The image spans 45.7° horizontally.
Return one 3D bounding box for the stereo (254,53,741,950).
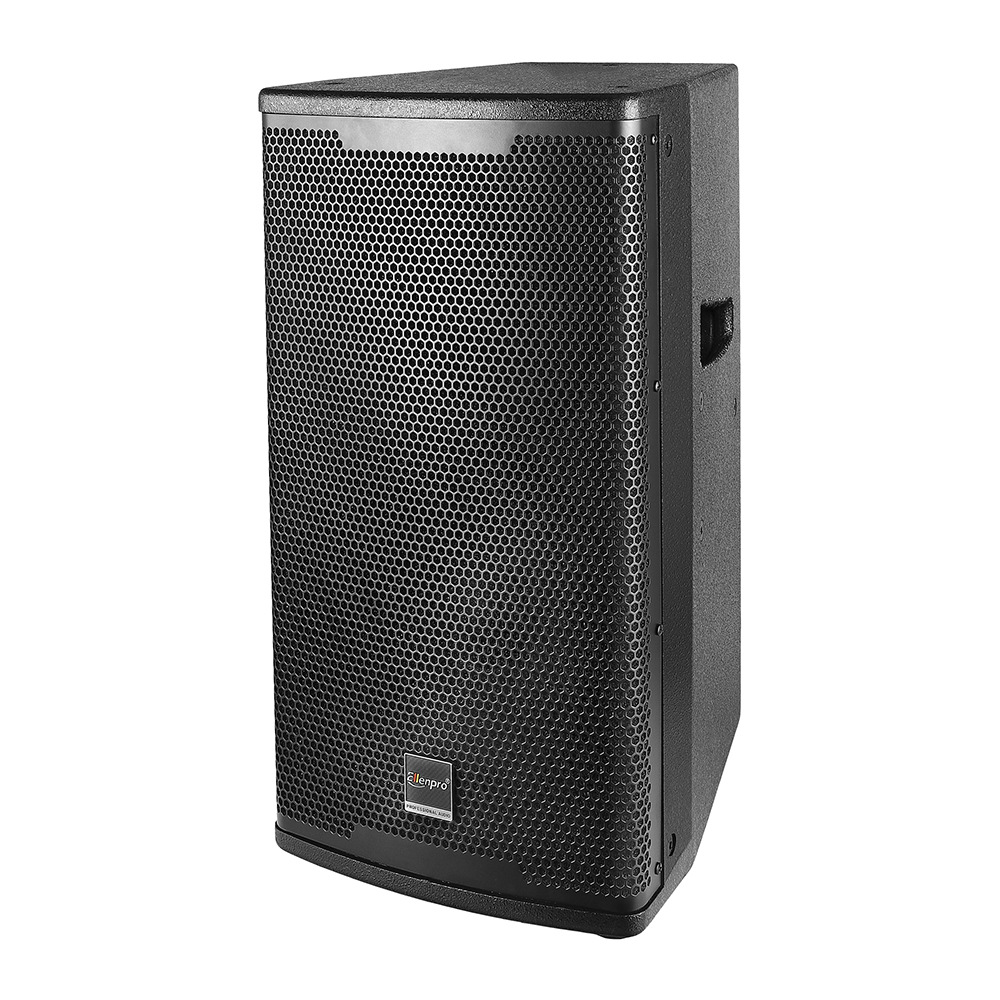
[{"bbox_3d":[0.034,-0.038,1.522,0.650,0.562,1.015,1,-79,1],"label":"stereo"}]
